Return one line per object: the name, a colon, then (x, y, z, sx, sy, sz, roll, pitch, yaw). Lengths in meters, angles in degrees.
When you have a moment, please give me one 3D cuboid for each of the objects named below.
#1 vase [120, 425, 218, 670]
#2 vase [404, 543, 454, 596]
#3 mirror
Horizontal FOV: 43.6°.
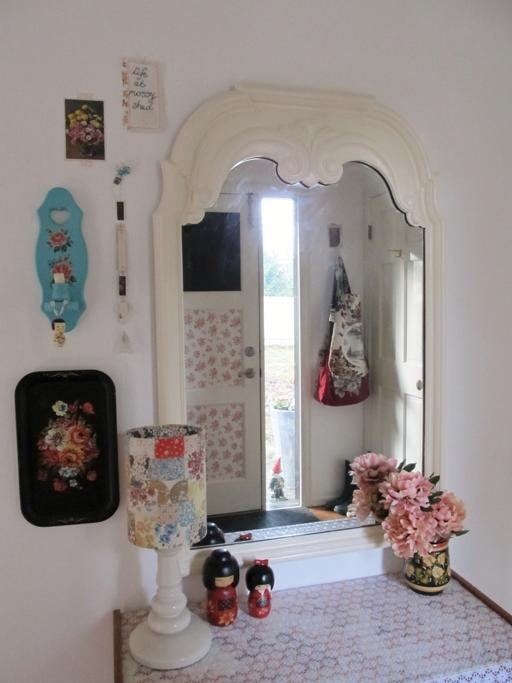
vase: (-0.188, 0.417, 1.395, 0.180, 0.475, 0.264, 0, 12, -9)
vase: (0.429, 0.563, 1.639, 0.128, 0.121, 0.125, -1, 8, 0)
mirror: (0.121, -0.128, 1.574, 0.740, 0.946, 0.135, -1, 12, -14)
